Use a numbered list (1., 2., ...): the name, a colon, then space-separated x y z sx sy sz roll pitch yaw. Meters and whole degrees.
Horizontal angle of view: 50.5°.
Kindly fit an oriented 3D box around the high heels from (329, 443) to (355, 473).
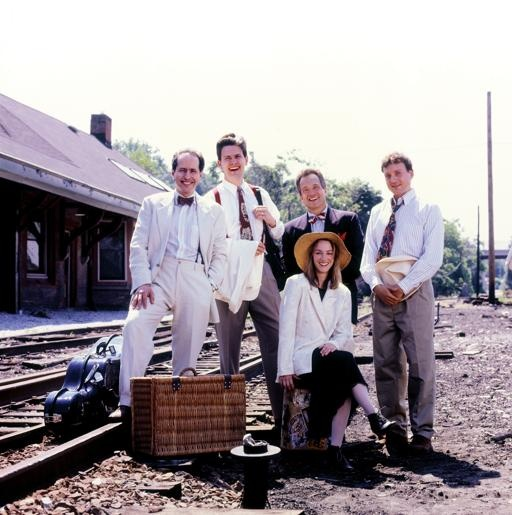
1. high heels: 0.616 1.385 3.743 0.083 0.191 0.245 4 -12 -29

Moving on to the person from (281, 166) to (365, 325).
1. person: 0.634 0.293 5.120 0.708 2.291 0.671 -2 20 12

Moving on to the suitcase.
1. suitcase: -0.448 1.081 3.730 0.831 0.684 0.489 6 -11 -37

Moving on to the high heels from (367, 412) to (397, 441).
1. high heels: 0.862 1.154 3.690 0.154 0.182 0.152 1 -2 -20

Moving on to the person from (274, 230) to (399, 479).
1. person: 0.504 0.628 4.154 0.667 1.671 0.933 0 -2 2

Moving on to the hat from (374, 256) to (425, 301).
1. hat: 1.143 0.149 4.460 0.103 0.329 0.303 -11 -25 -51
